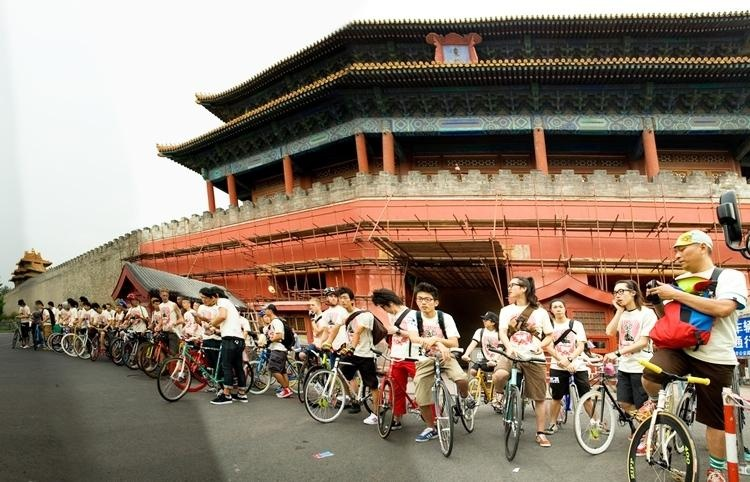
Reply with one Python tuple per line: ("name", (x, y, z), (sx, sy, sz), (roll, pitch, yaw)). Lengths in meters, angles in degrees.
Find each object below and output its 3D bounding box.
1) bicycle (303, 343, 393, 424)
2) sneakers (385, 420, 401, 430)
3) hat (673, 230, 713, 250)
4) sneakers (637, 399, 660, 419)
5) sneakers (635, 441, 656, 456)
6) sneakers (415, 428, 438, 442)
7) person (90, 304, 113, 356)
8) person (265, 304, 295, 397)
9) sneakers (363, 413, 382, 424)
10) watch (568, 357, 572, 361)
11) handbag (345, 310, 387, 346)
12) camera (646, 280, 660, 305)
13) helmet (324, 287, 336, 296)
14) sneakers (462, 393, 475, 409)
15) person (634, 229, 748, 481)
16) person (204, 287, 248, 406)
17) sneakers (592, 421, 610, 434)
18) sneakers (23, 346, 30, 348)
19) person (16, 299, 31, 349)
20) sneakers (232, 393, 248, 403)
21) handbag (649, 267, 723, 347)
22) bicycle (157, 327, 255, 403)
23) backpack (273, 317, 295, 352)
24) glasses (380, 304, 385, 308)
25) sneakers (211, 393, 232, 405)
("bicycle", (-0.479, 3.174, 12.512), (2.475, 1.575, 1.132), (11, -15, -37))
("sneakers", (0.370, 3.741, 11.462), (0.414, 0.182, 0.173), (13, -15, -36))
("hat", (5.155, -0.063, 9.028), (0.450, 0.249, 0.333), (9, 2, 31))
("sneakers", (4.456, 2.763, 9.161), (0.244, 0.200, 0.585), (35, 28, 15))
("sneakers", (4.381, 3.354, 9.079), (0.172, 0.227, 0.518), (-24, -35, 34))
("sneakers", (1.021, 3.779, 10.988), (0.522, 0.235, 0.179), (2, -10, -16))
("person", (-9.684, 3.173, 19.804), (0.603, 1.822, 1.499), (1, 0, -27))
("person", (-2.572, 2.812, 14.542), (0.849, 2.324, 0.783), (-5, -9, 8))
("sneakers", (-0.064, 3.788, 12.020), (0.378, 0.168, 0.172), (6, -13, -25))
("watch", (3.937, 2.370, 11.289), (0.085, 0.073, 0.099), (1, 0, 19))
("handbag", (-0.273, 1.992, 12.678), (1.009, 0.966, 0.697), (-7, -20, 1))
("camera", (4.558, 0.869, 9.127), (0.165, 0.427, 0.429), (-7, 0, 24))
("helmet", (-1.072, 1.152, 13.082), (0.269, 0.145, 0.383), (1, 3, -22))
("sneakers", (1.972, 3.343, 11.792), (0.215, 0.271, 0.619), (2, 2, -2))
("person", (5.123, 1.777, 8.866), (1.274, 4.177, 0.731), (1, 0, 27))
("person", (-3.705, 2.514, 13.741), (0.852, 2.837, 0.916), (-18, -20, 23))
("sneakers", (4.323, 3.531, 10.711), (0.162, 0.205, 0.467), (-4, -9, 39))
("sneakers", (-14.797, 4.440, 23.765), (0.350, 0.164, 0.144), (-7, -12, 38))
("person", (-15.080, 3.476, 24.132), (0.640, 1.966, 0.716), (-12, 3, -45))
("sneakers", (-3.308, 3.795, 13.737), (0.378, 0.169, 0.168), (6, 1, 41))
("handbag", (5.078, 1.132, 9.185), (0.715, 1.345, 1.114), (19, -13, -1))
("bicycle", (-4.171, 3.120, 13.830), (2.457, 1.492, 1.228), (-1, -10, 4))
("backpack", (-2.285, 2.439, 14.736), (0.753, 0.760, 0.479), (-2, -2, -9))
("glasses", (0.180, 1.351, 11.784), (0.101, 0.075, 0.038), (-4, 7, 31))
("sneakers", (-3.672, 3.764, 13.452), (0.526, 0.236, 0.212), (5, -13, -10))
